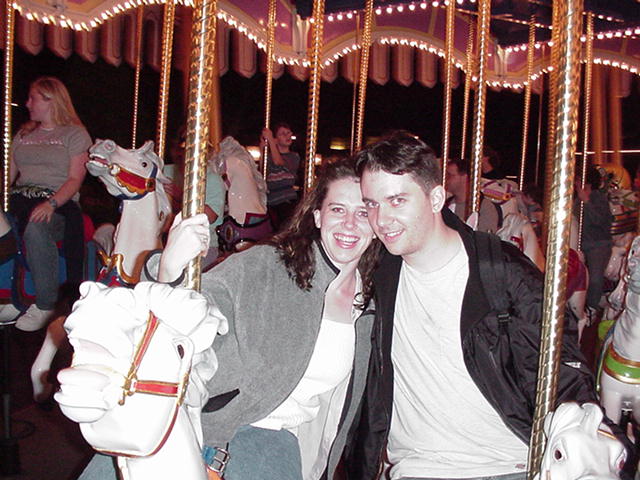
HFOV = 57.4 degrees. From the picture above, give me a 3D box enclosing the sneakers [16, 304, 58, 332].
[{"bbox_3d":[-2.459,0.666,5.157,0.151,0.188,0.444,1,5,13],"label":"sneakers"}]
